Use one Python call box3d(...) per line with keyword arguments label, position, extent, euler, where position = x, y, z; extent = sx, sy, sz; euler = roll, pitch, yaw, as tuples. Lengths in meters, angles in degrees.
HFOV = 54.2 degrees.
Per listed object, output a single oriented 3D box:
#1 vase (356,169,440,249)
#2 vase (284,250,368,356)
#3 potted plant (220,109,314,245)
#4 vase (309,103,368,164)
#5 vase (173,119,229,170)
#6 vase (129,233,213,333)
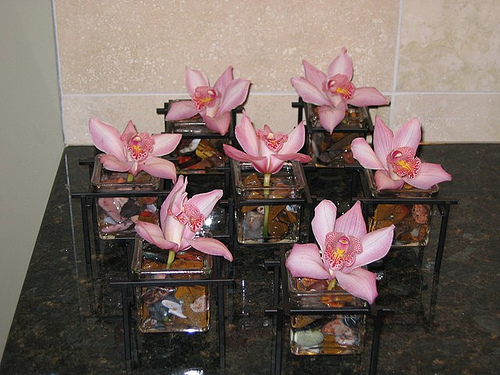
box3d(label="vase", position=(0.254, 0.048, 0.922), extent=(0.150, 0.106, 0.143), euler=(1, 18, 1))
box3d(label="vase", position=(0.102, 0.183, 0.753), extent=(0.152, 0.133, 0.113), euler=(0, 17, -1))
box3d(label="potted plant", position=(0.023, 0.000, 0.976), extent=(0.208, 0.233, 0.203), euler=(4, -3, 4))
box3d(label="vase", position=(0.192, -0.107, 1.162), extent=(0.157, 0.138, 0.123), euler=(0, 36, 0))
box3d(label="vase", position=(-0.114, -0.093, 1.136), extent=(0.131, 0.113, 0.084), euler=(1, 24, 9))
box3d(label="vase", position=(-0.111, 0.142, 0.795), extent=(0.152, 0.165, 0.135), euler=(1, 43, -4))
